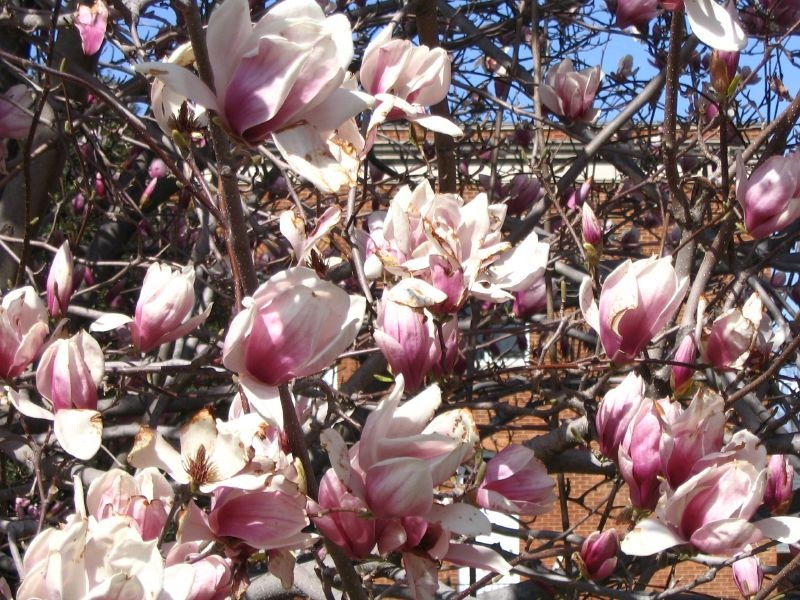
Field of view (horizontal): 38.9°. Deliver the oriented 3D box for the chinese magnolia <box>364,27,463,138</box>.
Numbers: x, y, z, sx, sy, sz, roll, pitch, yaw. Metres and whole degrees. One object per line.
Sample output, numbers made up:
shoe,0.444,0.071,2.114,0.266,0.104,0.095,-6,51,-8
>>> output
chinese magnolia,0.025,-0.638,3.403,0.295,0.284,0.448,11,31,-11
